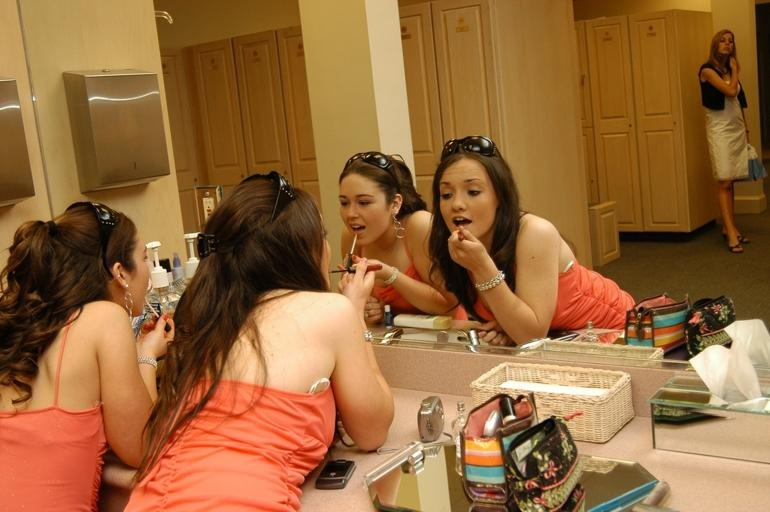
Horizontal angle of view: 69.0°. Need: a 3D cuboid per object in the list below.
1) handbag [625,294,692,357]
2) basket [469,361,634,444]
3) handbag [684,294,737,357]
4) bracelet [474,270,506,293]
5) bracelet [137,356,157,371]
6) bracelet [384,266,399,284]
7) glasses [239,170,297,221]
[{"bbox_3d":[0.703,0.179,1.450,0.171,0.125,0.098,-5,6,-33],"label":"handbag"},{"bbox_3d":[0.410,0.309,1.374,0.300,0.106,0.186,3,13,39],"label":"basket"},{"bbox_3d":[0.792,0.164,1.384,0.115,0.161,0.081,-18,35,0],"label":"handbag"},{"bbox_3d":[0.312,0.075,1.665,0.088,0.055,0.048,-7,6,10],"label":"bracelet"},{"bbox_3d":[-0.651,0.294,1.530,0.032,0.014,0.037,14,-10,37],"label":"bracelet"},{"bbox_3d":[0.025,0.072,1.939,0.023,0.050,0.044,30,-30,-11],"label":"bracelet"},{"bbox_3d":[-0.276,-0.127,1.335,0.120,0.119,0.048,34,2,3],"label":"glasses"}]
